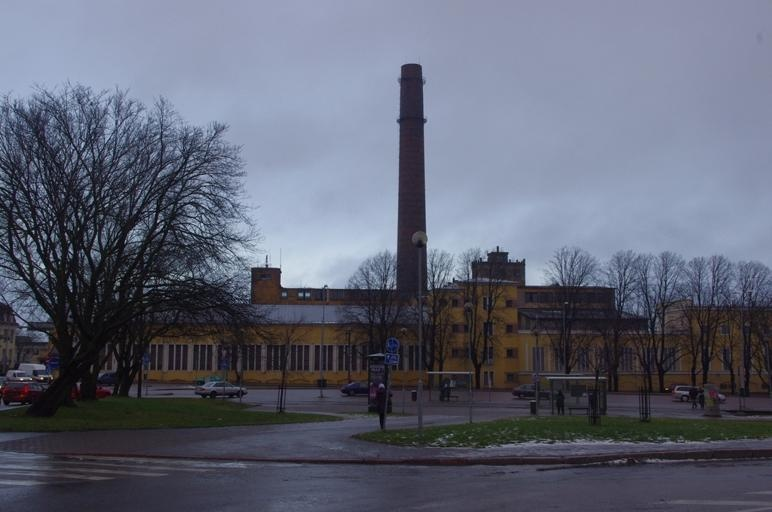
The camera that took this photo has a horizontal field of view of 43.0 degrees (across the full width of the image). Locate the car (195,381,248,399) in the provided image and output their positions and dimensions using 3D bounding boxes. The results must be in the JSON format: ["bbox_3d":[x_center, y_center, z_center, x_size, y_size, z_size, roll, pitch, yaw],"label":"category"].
[{"bbox_3d":[-14.575,11.639,85.462,4.773,1.500,3.279,-1,-12,6],"label":"car"}]

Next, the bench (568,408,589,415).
[{"bbox_3d":[12.811,10.432,65.472,1.219,0.542,5.053,-2,-12,10],"label":"bench"}]
